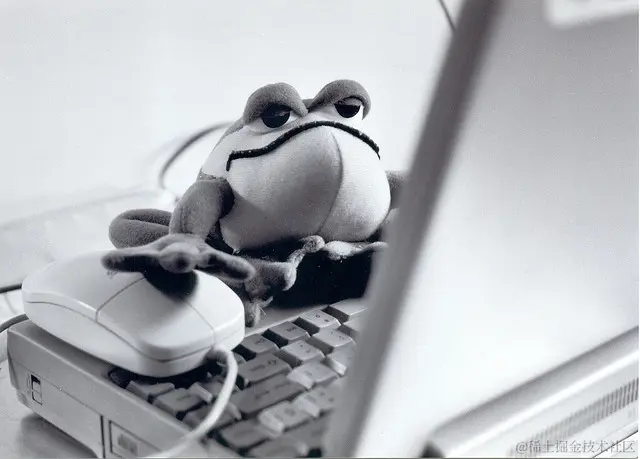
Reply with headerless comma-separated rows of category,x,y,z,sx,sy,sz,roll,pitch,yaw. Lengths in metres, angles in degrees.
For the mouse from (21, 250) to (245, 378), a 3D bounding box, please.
mouse,-0.166,0.058,0.558,0.204,0.060,0.134,15,19,31
